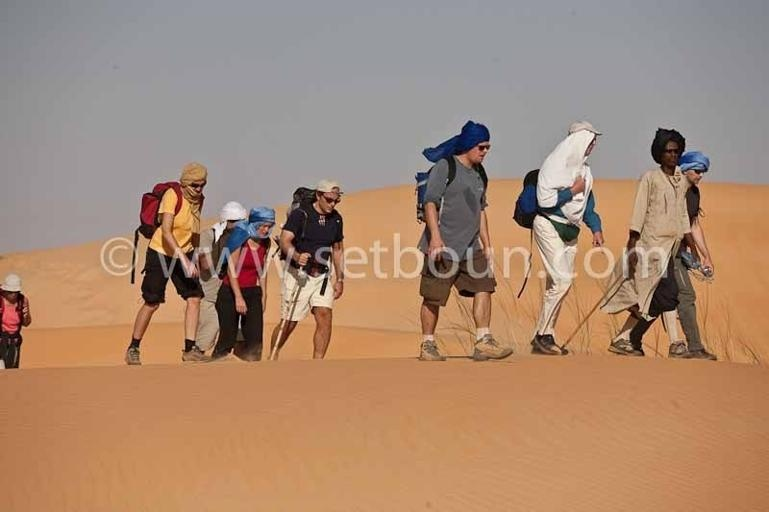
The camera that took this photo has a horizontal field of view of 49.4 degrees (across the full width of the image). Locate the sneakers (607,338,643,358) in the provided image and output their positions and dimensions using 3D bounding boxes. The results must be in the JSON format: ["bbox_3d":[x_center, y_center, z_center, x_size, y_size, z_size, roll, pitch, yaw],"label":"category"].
[{"bbox_3d":[3.037,1.188,10.713,0.464,0.230,0.186,4,3,-4],"label":"sneakers"}]

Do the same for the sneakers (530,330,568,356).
[{"bbox_3d":[1.976,1.111,10.374,0.504,0.246,0.203,1,0,24],"label":"sneakers"}]

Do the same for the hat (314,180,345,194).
[{"bbox_3d":[-0.700,-0.879,10.717,0.239,0.169,0.499,0,-2,-26],"label":"hat"}]

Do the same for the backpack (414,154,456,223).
[{"bbox_3d":[0.688,-0.827,9.894,0.612,0.673,0.477,11,11,3],"label":"backpack"}]

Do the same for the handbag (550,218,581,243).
[{"bbox_3d":[2.211,-0.293,10.261,0.254,0.199,0.339,12,8,-41],"label":"handbag"}]

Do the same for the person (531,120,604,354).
[{"bbox_3d":[2.143,-0.209,10.193,0.780,2.836,0.440,-1,-1,9],"label":"person"}]

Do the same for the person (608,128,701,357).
[{"bbox_3d":[3.337,-0.176,10.615,1.011,2.865,0.583,-1,-2,14],"label":"person"}]

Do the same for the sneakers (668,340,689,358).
[{"bbox_3d":[3.588,1.167,10.302,0.275,0.200,0.172,1,-1,-9],"label":"sneakers"}]

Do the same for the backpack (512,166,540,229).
[{"bbox_3d":[1.828,-0.760,10.542,0.359,0.727,0.510,11,25,18],"label":"backpack"}]

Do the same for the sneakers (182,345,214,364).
[{"bbox_3d":[-2.347,1.270,10.719,0.460,0.207,0.181,4,11,-23],"label":"sneakers"}]
